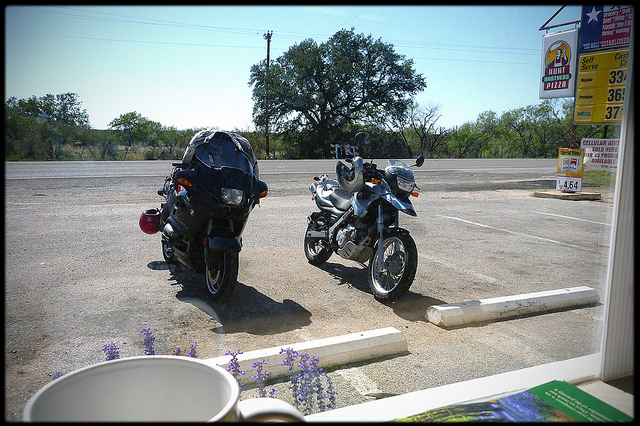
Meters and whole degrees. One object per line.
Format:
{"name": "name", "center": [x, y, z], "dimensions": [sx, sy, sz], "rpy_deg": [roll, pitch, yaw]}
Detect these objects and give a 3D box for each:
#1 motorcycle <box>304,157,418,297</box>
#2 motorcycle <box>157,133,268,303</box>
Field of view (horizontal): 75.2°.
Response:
{"name": "motorcycle", "center": [0.656, 0.098, 6.490], "dimensions": [0.651, 1.930, 2.258], "rpy_deg": [-6, 9, -35]}
{"name": "motorcycle", "center": [-1.513, 0.028, 5.752], "dimensions": [1.274, 2.242, 0.806], "rpy_deg": [3, 8, 30]}
